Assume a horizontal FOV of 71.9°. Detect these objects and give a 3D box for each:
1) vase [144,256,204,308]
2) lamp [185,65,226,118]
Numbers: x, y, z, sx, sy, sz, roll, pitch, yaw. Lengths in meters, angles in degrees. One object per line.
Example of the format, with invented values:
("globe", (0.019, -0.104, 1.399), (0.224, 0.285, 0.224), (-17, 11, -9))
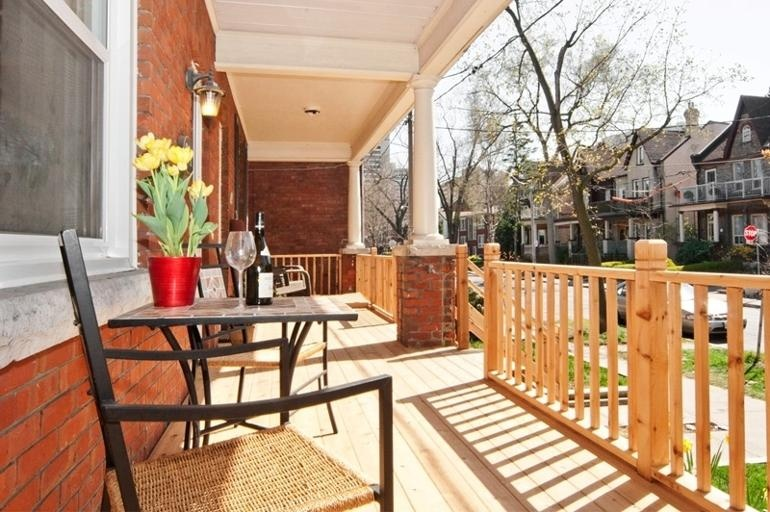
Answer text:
("vase", (-1.024, 0.123, 2.593), (0.246, 0.215, 0.232), (2, -1, -18))
("lamp", (-1.491, -1.377, 4.394), (0.277, 0.405, 0.357), (-2, 6, -17))
